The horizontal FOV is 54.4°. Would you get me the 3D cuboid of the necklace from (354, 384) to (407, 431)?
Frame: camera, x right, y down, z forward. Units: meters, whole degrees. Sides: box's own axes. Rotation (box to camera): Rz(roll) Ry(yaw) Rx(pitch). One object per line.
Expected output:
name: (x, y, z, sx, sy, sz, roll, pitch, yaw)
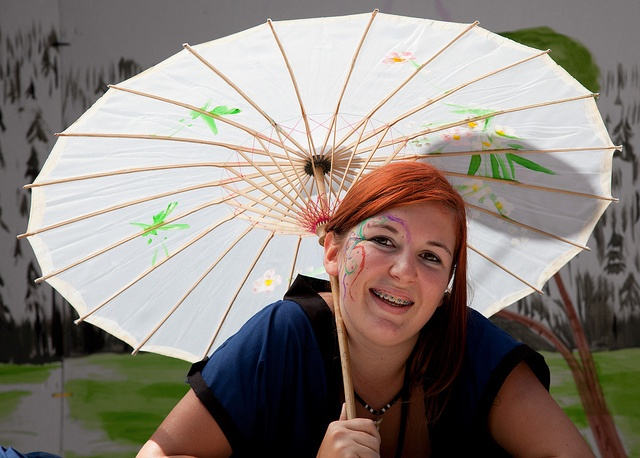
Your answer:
necklace: (0.313, 0.830, 2.879, 0.213, 0.193, 0.123, -1, -17, 4)
